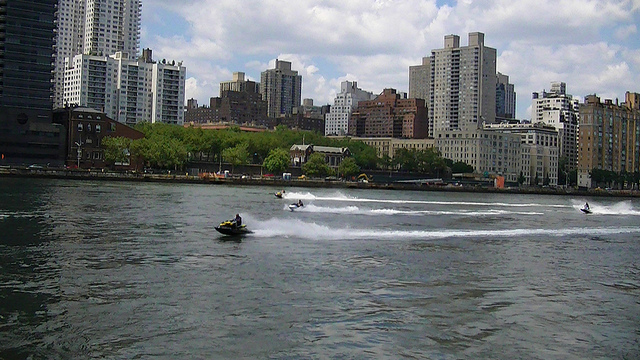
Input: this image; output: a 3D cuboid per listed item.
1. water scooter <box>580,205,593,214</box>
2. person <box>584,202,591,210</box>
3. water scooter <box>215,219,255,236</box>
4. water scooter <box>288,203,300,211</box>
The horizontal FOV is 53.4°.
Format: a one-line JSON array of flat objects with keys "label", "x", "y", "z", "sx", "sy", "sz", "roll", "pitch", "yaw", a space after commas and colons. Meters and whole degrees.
[{"label": "water scooter", "x": 59.290, "y": 6.288, "z": 141.332, "sx": 2.281, "sy": 1.981, "sz": 4.962, "roll": 1, "pitch": 0, "yaw": 26}, {"label": "person", "x": 65.848, "y": 6.166, "z": 156.496, "sx": 1.113, "sy": 1.418, "sz": 2.553, "roll": -7, "pitch": -21, "yaw": 15}, {"label": "water scooter", "x": -12.937, "y": 6.855, "z": 92.391, "sx": 4.203, "sy": 1.409, "sz": 2.152, "roll": 7, "pitch": -4, "yaw": -18}, {"label": "water scooter", "x": -4.996, "y": 5.012, "z": 120.518, "sx": 1.315, "sy": 1.039, "sz": 2.957, "roll": 3, "pitch": -5, "yaw": 11}]
